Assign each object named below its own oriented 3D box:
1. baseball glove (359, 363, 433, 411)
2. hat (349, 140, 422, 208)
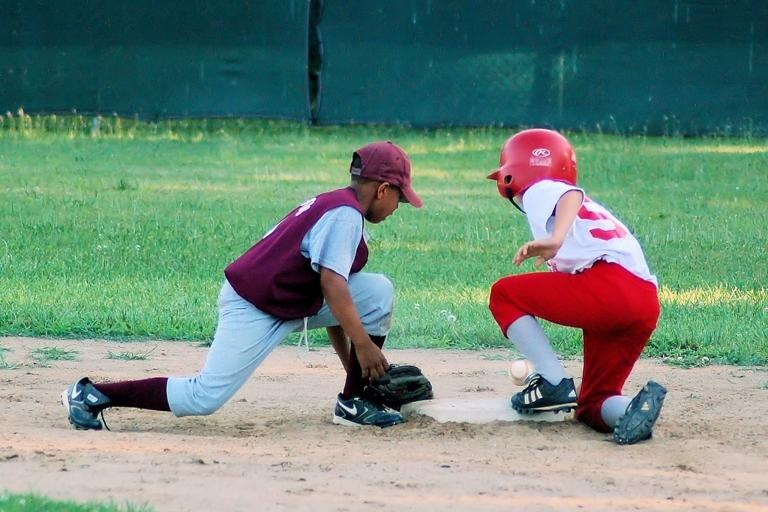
[{"bbox_3d":[0.101,1.133,12.376,0.582,0.290,0.259,-6,-37,1],"label":"baseball glove"},{"bbox_3d":[0.012,-0.699,12.130,0.589,0.535,0.174,0,5,-1],"label":"hat"}]
